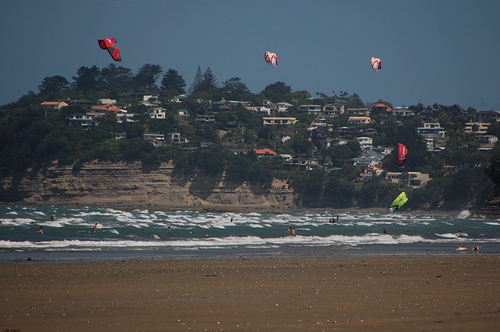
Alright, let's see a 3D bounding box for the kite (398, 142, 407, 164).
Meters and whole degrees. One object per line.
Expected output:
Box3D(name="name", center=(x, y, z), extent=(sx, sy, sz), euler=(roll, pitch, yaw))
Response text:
Box3D(name="kite", center=(18.520, -1.487, 145.469), extent=(0.976, 2.428, 1.585), euler=(6, -3, 5))
